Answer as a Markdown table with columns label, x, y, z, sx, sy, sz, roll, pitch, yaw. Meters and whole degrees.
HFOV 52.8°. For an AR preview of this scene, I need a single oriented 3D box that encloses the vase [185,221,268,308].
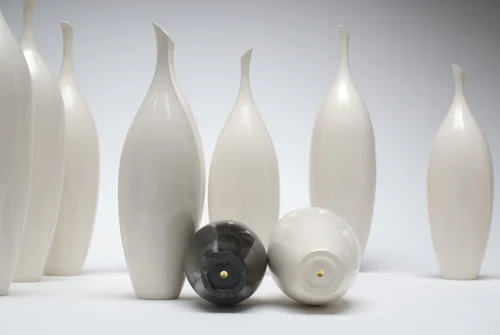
| label | x | y | z | sx | sy | sz | roll | pitch | yaw |
| --- | --- | --- | --- | --- | --- | --- | --- | --- | --- |
| vase | -0.078 | 0.292 | 1.808 | 0.235 | 0.306 | 0.264 | -4 | 10 | 5 |

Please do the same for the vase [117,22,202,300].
| label | x | y | z | sx | sy | sz | roll | pitch | yaw |
| --- | --- | --- | --- | --- | --- | --- | --- | --- | --- |
| vase | -0.329 | -0.023 | 1.881 | 0.294 | 1.032 | 0.114 | 4 | -3 | -13 |

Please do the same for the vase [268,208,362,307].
| label | x | y | z | sx | sy | sz | roll | pitch | yaw |
| --- | --- | --- | --- | --- | --- | --- | --- | --- | --- |
| vase | 0.222 | 0.310 | 1.756 | 0.274 | 0.356 | 0.191 | 1 | 4 | 2 |

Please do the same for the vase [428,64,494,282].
| label | x | y | z | sx | sy | sz | roll | pitch | yaw |
| --- | --- | --- | --- | --- | --- | --- | --- | --- | --- |
| vase | 0.990 | 0.009 | 2.352 | 0.286 | 1.024 | 0.124 | 2 | -4 | 21 |
